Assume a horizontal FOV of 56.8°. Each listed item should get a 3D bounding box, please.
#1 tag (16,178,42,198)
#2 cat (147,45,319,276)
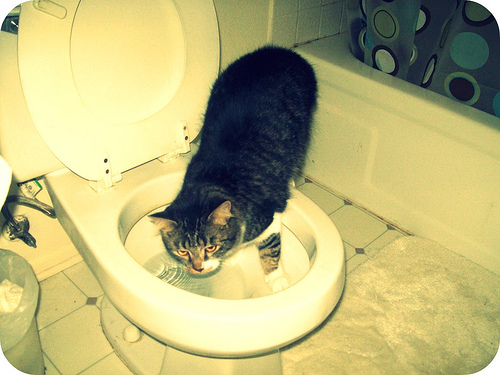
[{"bbox_3d":[-0.826,0.004,1.729,0.017,0.077,0.071,14,33,41],"label":"tag"},{"bbox_3d":[-0.092,-0.158,1.804,0.384,1.157,0.552,13,-1,28],"label":"cat"}]
